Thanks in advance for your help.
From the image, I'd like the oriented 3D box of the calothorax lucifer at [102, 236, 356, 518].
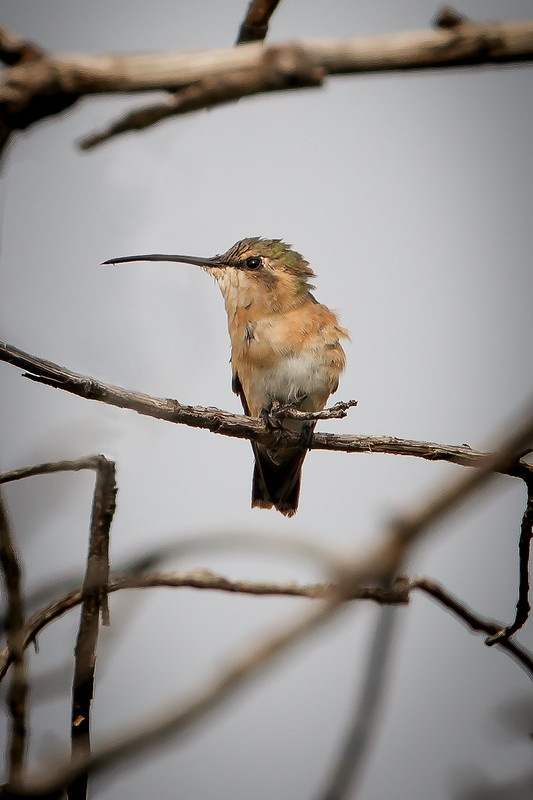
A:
[{"bbox_3d":[0.011,-0.027,1.764,0.252,0.441,0.335,-13,-26,7],"label":"calothorax lucifer"}]
